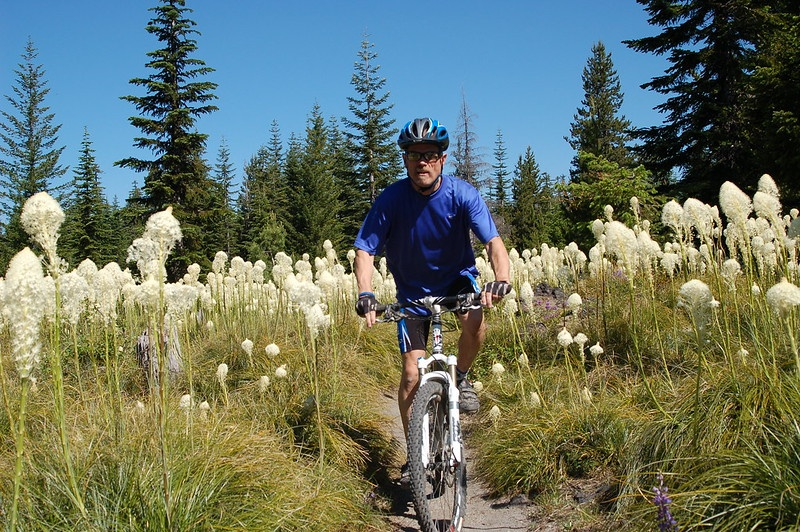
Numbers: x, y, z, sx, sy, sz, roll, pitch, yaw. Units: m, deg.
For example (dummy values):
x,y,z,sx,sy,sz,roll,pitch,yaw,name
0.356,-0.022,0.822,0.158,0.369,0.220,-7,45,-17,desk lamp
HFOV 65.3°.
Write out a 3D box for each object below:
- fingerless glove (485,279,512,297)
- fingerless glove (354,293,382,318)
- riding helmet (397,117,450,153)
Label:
x,y,z,sx,sy,sz,roll,pitch,yaw,name
0.933,0.226,5.981,0.248,0.163,0.212,-5,-9,9,fingerless glove
-0.316,0.368,6.094,0.227,0.230,0.173,-3,-9,-2,fingerless glove
0.227,-1.409,6.615,0.507,0.360,0.743,-2,0,9,riding helmet
